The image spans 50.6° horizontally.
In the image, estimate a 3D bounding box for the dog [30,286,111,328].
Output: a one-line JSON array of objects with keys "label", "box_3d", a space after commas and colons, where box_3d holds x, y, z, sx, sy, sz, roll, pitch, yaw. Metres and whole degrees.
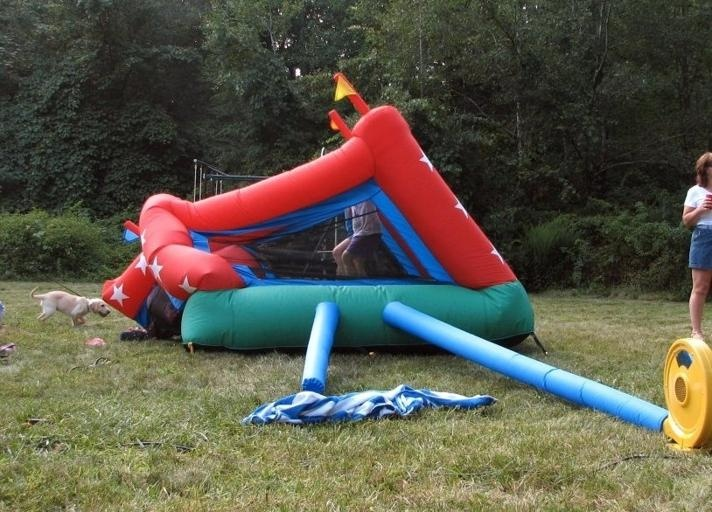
[{"label": "dog", "box_3d": [-4.463, 0.807, 11.638, 1.195, 0.534, 0.326, 11, 0, -11]}]
